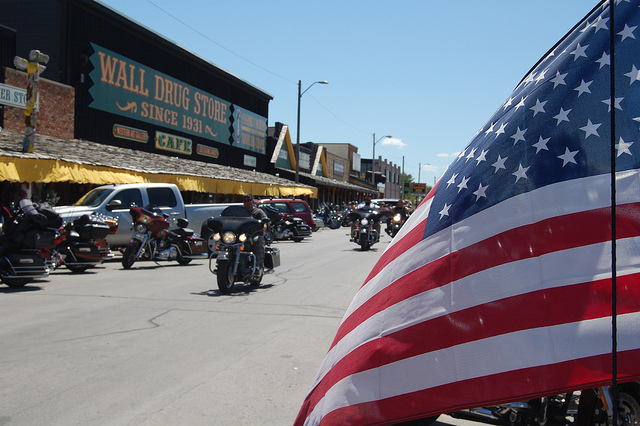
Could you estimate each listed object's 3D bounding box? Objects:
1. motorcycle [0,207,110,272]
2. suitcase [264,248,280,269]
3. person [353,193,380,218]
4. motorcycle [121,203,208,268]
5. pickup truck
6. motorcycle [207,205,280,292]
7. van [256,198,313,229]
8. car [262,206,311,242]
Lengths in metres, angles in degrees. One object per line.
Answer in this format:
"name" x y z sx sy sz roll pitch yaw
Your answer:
"motorcycle" -6.796 0.668 13.046 1.340 1.868 2.938 3 2 25
"suitcase" -1.134 1.077 12.420 0.383 0.504 0.690 5 3 5
"person" 2.026 -0.217 21.621 0.794 0.670 1.330 -1 -2 7
"motorcycle" -4.733 0.817 15.584 1.394 1.791 3.051 5 0 25
"pickup truck" -5.965 0.210 17.641 5.244 1.766 2.445 3 -3 -42
"motorcycle" -1.765 0.808 11.648 1.429 1.808 2.025 1 1 -5
"van" -1.777 0.013 29.009 2.544 1.387 1.519 3 -1 0
"car" -1.831 0.657 26.961 2.488 1.527 1.553 3 3 14
